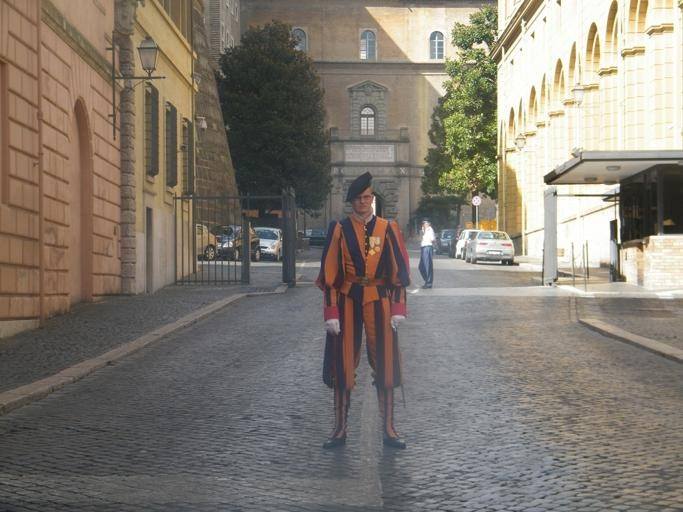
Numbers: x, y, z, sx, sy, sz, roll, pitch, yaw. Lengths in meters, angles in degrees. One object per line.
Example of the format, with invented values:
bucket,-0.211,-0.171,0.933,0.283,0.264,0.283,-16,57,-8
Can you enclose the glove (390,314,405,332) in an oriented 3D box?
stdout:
glove,0.537,0.618,8.473,0.130,0.134,0.130,-2,1,-39

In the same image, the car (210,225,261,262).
car,-4.679,-0.587,39.168,1.439,1.430,2.736,-2,-6,12

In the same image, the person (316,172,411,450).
person,0.199,0.477,8.508,0.849,2.329,0.370,1,0,0

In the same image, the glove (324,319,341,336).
glove,-0.083,0.649,8.441,0.104,0.148,0.147,1,-3,5

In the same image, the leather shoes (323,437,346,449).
leather shoes,-0.056,1.719,8.418,0.232,0.100,0.087,-10,-12,-20
